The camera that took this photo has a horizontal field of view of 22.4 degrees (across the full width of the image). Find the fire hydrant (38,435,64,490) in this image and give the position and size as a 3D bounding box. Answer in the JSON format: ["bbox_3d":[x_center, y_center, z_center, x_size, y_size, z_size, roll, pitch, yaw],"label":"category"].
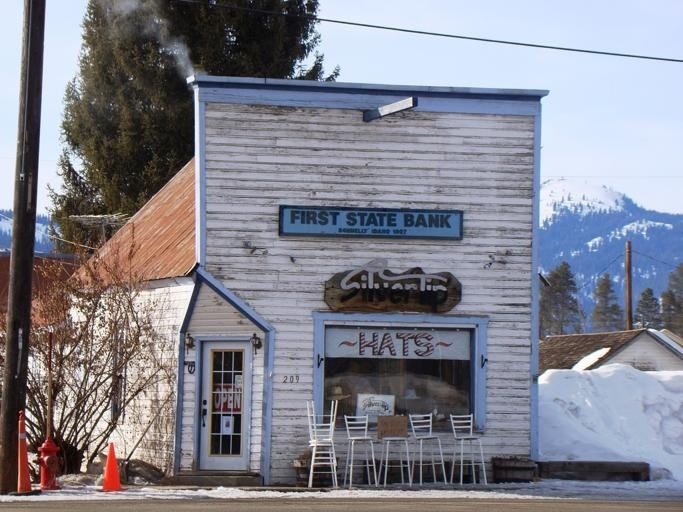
[{"bbox_3d":[-7.496,5.360,44.197,0.563,1.405,0.805,4,-14,-10],"label":"fire hydrant"}]
